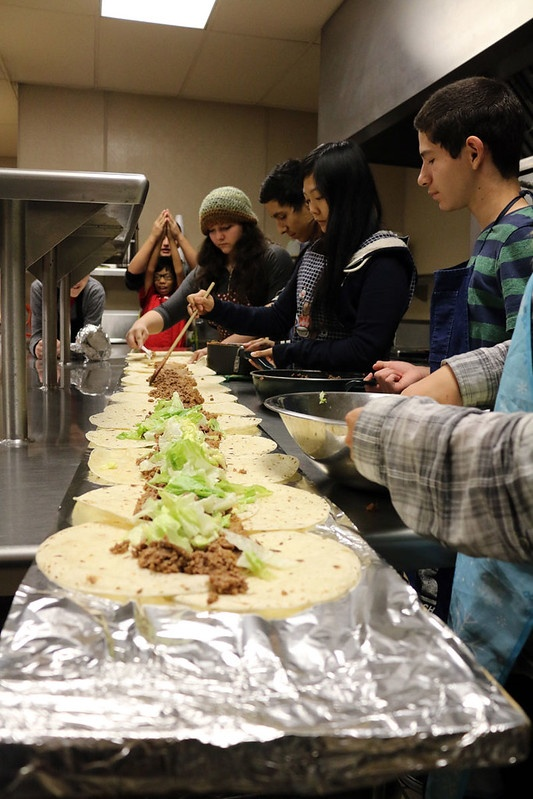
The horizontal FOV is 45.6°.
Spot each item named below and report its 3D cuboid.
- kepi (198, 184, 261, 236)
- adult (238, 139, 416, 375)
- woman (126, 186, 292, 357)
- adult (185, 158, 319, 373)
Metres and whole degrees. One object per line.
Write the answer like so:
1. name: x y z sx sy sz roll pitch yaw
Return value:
1. kepi: -0.174 -0.841 2.770 0.219 0.131 0.209 -1 -2 5
2. adult: 0.117 -0.350 2.024 0.591 0.854 0.741 1 12 -5
3. woman: -0.281 -0.650 3.047 0.620 0.831 0.948 20 23 38
4. adult: -0.214 -0.591 2.795 0.829 0.710 0.576 -9 14 -44
